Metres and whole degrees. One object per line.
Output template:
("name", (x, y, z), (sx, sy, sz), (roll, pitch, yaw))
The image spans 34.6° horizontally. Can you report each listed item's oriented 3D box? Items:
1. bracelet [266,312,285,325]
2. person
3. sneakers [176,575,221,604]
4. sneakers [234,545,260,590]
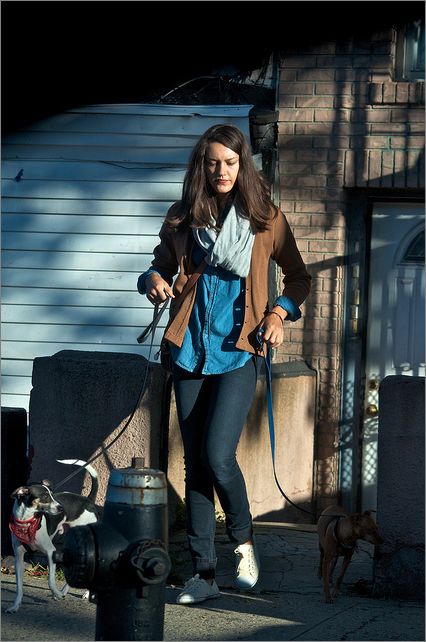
("bracelet", (0.271, -0.029, 2.961), (0.064, 0.054, 0.137), (-1, -6, 5))
("person", (0.046, 0.172, 3.039), (0.776, 2.086, 0.466), (-1, -6, 8))
("sneakers", (-0.061, 1.157, 2.954), (0.079, 0.087, 0.236), (-10, -12, 42))
("sneakers", (0.149, 1.106, 3.070), (0.092, 0.242, 0.097), (-7, -45, 12))
